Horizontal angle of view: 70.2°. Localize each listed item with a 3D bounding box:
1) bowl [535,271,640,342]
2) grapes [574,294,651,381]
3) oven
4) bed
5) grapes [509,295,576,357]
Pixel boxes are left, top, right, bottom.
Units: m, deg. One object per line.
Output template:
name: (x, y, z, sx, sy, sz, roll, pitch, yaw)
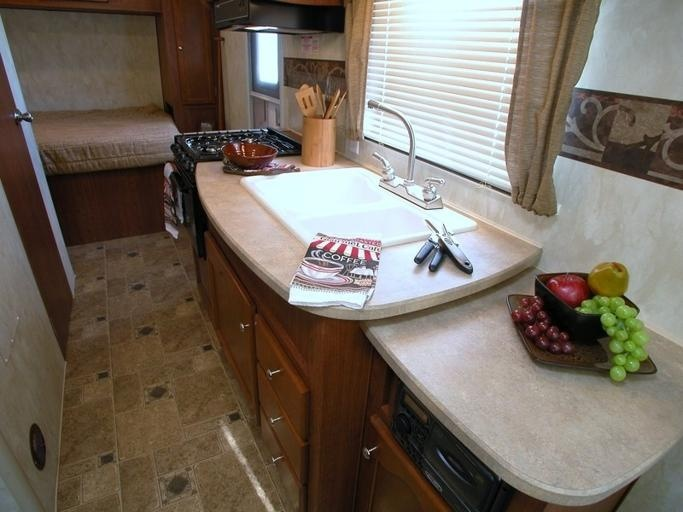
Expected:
bowl: (0.675, 0.164, 1.508, 0.239, 0.201, 0.336, 0, 19, -14)
grapes: (0.799, 0.232, 1.447, 0.162, 0.126, 0.271, -24, 62, 3)
oven: (-0.900, -0.081, 2.801, 0.290, 0.858, 0.510, -5, 21, -16)
bed: (-1.919, -0.723, 4.142, 1.012, 0.858, 1.017, -16, 32, -27)
grapes: (0.631, 0.235, 1.517, 0.153, 0.161, 0.167, -2, 20, -17)
